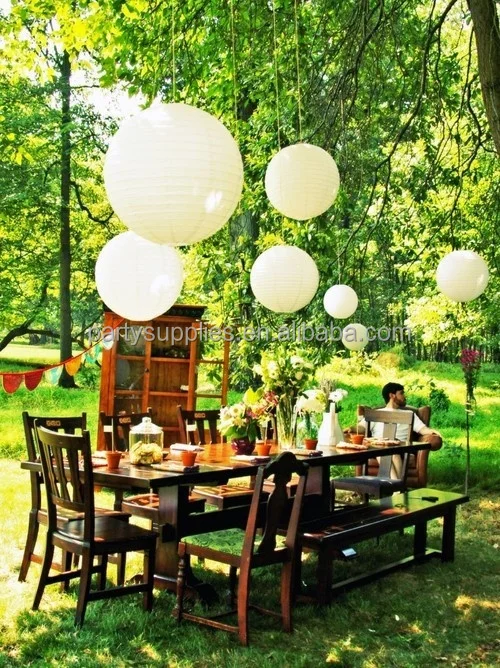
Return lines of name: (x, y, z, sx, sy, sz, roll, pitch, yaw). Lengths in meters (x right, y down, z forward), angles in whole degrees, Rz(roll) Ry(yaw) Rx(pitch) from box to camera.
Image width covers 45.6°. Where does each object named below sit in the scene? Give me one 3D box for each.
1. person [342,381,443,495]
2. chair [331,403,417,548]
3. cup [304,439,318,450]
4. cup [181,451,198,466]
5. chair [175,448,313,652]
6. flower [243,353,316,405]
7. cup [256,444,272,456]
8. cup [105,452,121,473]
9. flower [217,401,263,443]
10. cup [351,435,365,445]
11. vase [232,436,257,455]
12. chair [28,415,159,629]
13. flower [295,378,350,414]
person: (1.349, 0.971, 5.577, 0.779, 0.897, 0.771, 4, -15, 16)
chair: (0.993, 1.098, 4.842, 0.662, 0.875, 0.588, 0, -1, -33)
cup: (0.413, 0.744, 4.019, 0.080, 0.055, 0.067, -1, 2, -28)
cup: (-0.307, 0.617, 3.004, 0.077, 0.060, 0.077, 0, 1, 0)
chair: (-0.052, 1.032, 2.980, 0.517, 0.849, 0.558, 11, -13, -39)
flower: (0.168, 0.287, 4.063, 0.330, 0.381, 0.669, -2, -8, 38)
cup: (0.077, 0.717, 3.719, 0.084, 0.054, 0.084, 0, -8, 0)
cup: (-0.680, 0.642, 2.985, 0.079, 0.079, 0.079, 2, 3, 0)
flower: (-0.063, 0.548, 3.707, 0.241, 0.107, 0.246, 4, 8, 5)
cup: (0.778, 0.768, 4.325, 0.073, 0.058, 0.061, -5, 5, -29)
vase: (-0.041, 0.682, 3.670, 0.120, 0.095, 0.112, 0, 1, 3)
chair: (-0.790, 0.959, 3.036, 0.651, 0.957, 0.907, 5, -6, -19)
flower: (0.459, 0.441, 4.066, 0.287, 0.192, 0.316, -8, -3, 13)
